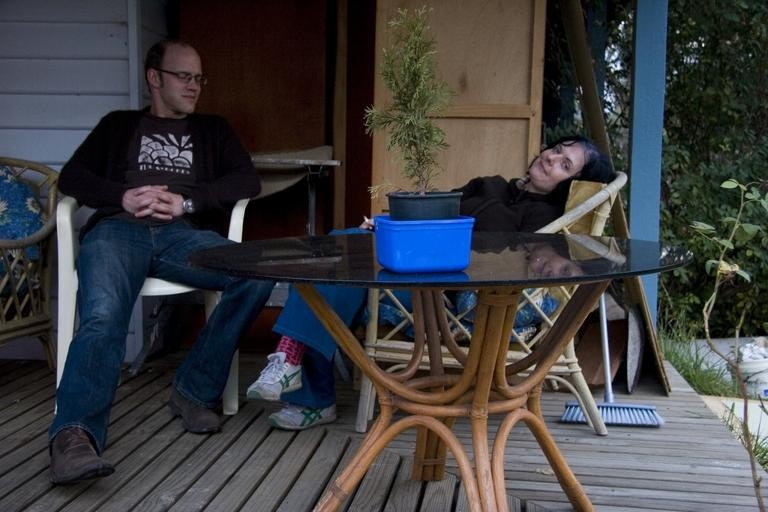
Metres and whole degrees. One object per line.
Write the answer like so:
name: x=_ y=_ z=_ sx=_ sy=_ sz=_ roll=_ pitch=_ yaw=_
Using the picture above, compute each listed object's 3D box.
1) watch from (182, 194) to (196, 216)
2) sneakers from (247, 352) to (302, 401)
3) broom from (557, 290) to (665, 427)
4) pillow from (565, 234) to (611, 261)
watch: x=-1.035 y=-0.261 z=3.129 sx=0.056 sy=0.074 sz=0.074 roll=-2 pitch=17 yaw=-11
sneakers: x=-0.497 y=0.567 z=2.851 sx=0.126 sy=0.184 sz=0.367 roll=1 pitch=0 yaw=25
broom: x=1.193 y=0.453 z=3.194 sx=0.478 sy=0.867 sz=0.281 roll=-3 pitch=-5 yaw=20
pillow: x=0.765 y=-0.032 z=2.241 sx=0.112 sy=0.046 sz=0.148 roll=2 pitch=15 yaw=-5
